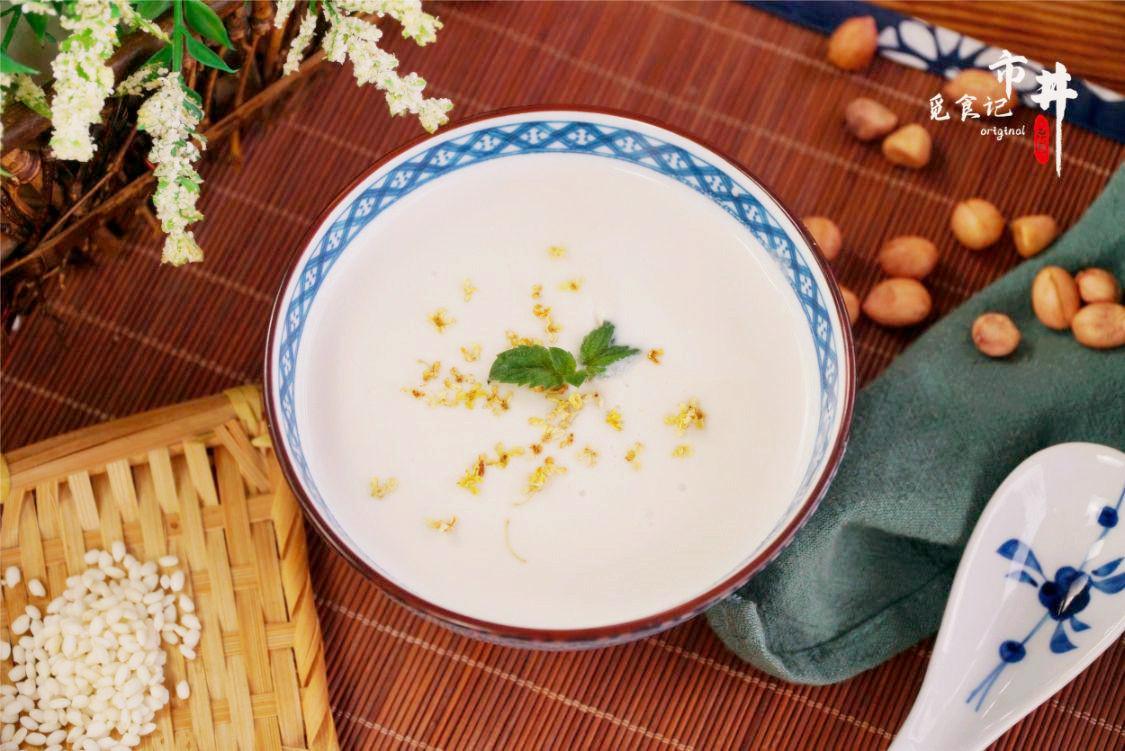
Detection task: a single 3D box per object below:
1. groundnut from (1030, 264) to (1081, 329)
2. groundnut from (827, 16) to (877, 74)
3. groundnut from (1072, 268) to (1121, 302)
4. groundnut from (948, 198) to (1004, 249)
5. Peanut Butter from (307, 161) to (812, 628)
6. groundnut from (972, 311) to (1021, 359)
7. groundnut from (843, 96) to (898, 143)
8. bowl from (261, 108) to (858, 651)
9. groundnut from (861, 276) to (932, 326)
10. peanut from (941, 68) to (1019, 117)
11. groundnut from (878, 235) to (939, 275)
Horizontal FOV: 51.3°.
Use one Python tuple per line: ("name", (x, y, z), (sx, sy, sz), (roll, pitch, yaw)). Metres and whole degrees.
("groundnut", (0.707, -0.111, 1.696), (0.064, 0.049, 0.091), (1, 90, -22))
("groundnut", (0.445, -0.509, 1.801), (0.079, 0.041, 0.070), (-5, 79, -5))
("groundnut", (0.771, -0.129, 1.697), (0.058, 0.045, 0.047), (31, 87, 25))
("groundnut", (0.624, -0.224, 1.798), (0.072, 0.040, 0.075), (-33, 90, -2))
("Peanut Butter", (0.003, 0.034, 1.603), (0.625, 0.167, 0.636), (-40, 83, -8))
("groundnut", (0.626, -0.051, 1.697), (0.053, 0.033, 0.059), (-1, 41, -6))
("groundnut", (0.466, -0.391, 1.787), (0.064, 0.036, 0.069), (-27, 87, 8))
("bowl", (-0.009, -0.004, 1.552), (0.725, 0.146, 0.719), (1, 79, -4))
("groundnut", (0.496, -0.110, 1.753), (0.084, 0.050, 0.066), (-9, 83, 4))
("peanut", (0.640, -0.433, 1.798), (0.108, 0.030, 0.054), (21, 78, 0))
("groundnut", (0.517, -0.177, 1.762), (0.072, 0.041, 0.058), (-3, 98, 9))
